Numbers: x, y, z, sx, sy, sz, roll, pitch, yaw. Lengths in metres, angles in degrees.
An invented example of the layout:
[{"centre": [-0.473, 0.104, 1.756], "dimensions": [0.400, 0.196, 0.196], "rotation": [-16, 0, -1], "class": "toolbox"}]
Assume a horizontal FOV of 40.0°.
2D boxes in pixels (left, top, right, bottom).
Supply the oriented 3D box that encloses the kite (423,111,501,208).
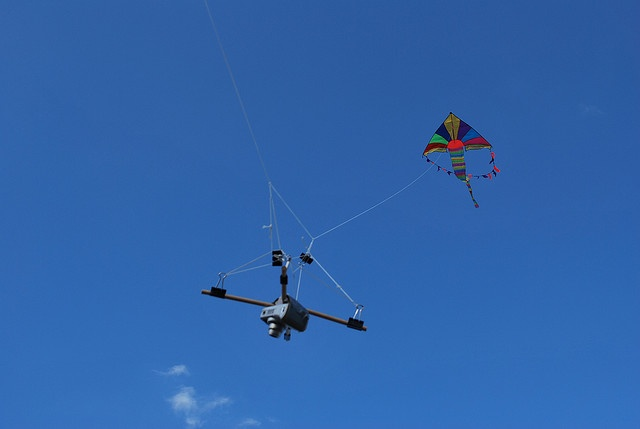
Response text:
[{"centre": [5.712, -2.170, 36.177], "dimensions": [4.220, 5.054, 0.529], "rotation": [-5, -31, 1], "class": "kite"}]
